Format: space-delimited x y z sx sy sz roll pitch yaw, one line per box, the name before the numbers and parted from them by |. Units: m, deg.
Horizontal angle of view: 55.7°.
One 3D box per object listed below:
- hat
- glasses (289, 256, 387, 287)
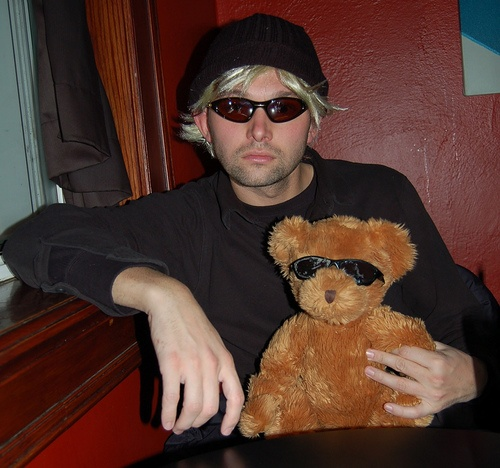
hat | 0.031 -0.620 1.648 0.426 0.265 0.412 -1 3 -19
glasses | 0.206 0.096 1.114 0.216 0.091 0.069 -3 29 9
